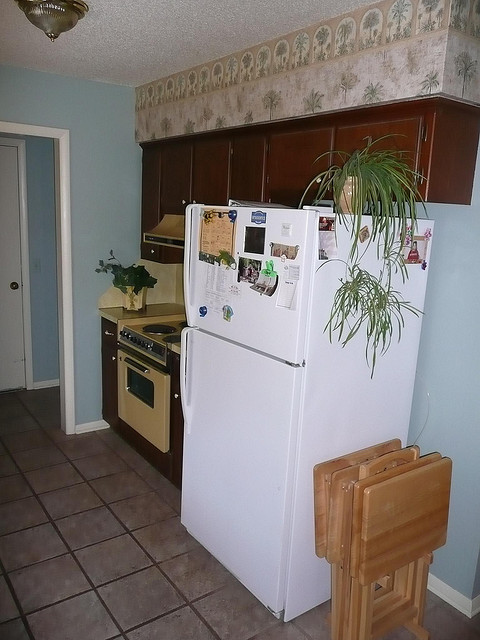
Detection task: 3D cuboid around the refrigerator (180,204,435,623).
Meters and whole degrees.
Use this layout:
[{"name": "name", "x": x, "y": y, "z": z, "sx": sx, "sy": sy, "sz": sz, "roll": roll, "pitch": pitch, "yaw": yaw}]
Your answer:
[{"name": "refrigerator", "x": 0.144, "y": 0.328, "z": 2.177, "sx": 0.733, "sy": 1.603, "sz": 0.647, "roll": 12, "pitch": 14, "yaw": 39}]

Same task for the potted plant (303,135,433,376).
[{"name": "potted plant", "x": 0.439, "y": -0.218, "z": 1.702, "sx": 0.300, "sy": 0.770, "sz": 0.373, "roll": -3, "pitch": 5, "yaw": -16}]

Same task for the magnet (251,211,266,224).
[{"name": "magnet", "x": 0.068, "y": -0.375, "z": 1.752, "sx": 0.006, "sy": 0.045, "sz": 0.094, "roll": -2, "pitch": 9, "yaw": -31}]

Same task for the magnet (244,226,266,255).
[{"name": "magnet", "x": 0.056, "y": -0.298, "z": 1.786, "sx": 0.014, "sy": 0.094, "sz": 0.141, "roll": -2, "pitch": 9, "yaw": -28}]

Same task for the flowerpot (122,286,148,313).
[{"name": "flowerpot", "x": -0.803, "y": -0.146, "z": 3.612, "sx": 0.164, "sy": 0.226, "sz": 0.187, "roll": -1, "pitch": 12, "yaw": -15}]

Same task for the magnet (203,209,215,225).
[{"name": "magnet", "x": -0.143, "y": -0.441, "z": 2.043, "sx": 0.015, "sy": 0.060, "sz": 0.038, "roll": -10, "pitch": 17, "yaw": -40}]

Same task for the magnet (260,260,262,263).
[{"name": "magnet", "x": 0.079, "y": -0.216, "z": 1.759, "sx": 0.003, "sy": 0.007, "sz": 0.006, "roll": -2, "pitch": 8, "yaw": -27}]

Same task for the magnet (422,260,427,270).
[{"name": "magnet", "x": 0.742, "y": -0.215, "z": 1.897, "sx": 0.016, "sy": 0.029, "sz": 0.007, "roll": -9, "pitch": 16, "yaw": -40}]

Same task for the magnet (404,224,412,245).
[{"name": "magnet", "x": 0.635, "y": -0.318, "z": 1.777, "sx": 0.026, "sy": 0.074, "sz": 0.070, "roll": 4, "pitch": 7, "yaw": 20}]

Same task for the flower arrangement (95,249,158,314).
[{"name": "flower arrangement", "x": -0.842, "y": -0.270, "z": 3.635, "sx": 0.385, "sy": 0.527, "sz": 0.440, "roll": 4, "pitch": 5, "yaw": 30}]

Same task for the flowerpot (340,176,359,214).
[{"name": "flowerpot", "x": 0.372, "y": -0.425, "z": 1.616, "sx": 0.048, "sy": 0.121, "sz": 0.093, "roll": 0, "pitch": 7, "yaw": -15}]

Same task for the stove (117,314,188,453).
[{"name": "stove", "x": -0.560, "y": 0.407, "z": 3.180, "sx": 0.391, "sy": 0.763, "sz": 0.872, "roll": -2, "pitch": 9, "yaw": -29}]

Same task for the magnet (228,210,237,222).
[{"name": "magnet", "x": -0.031, "y": -0.414, "z": 1.898, "sx": 0.008, "sy": 0.041, "sz": 0.035, "roll": -3, "pitch": 12, "yaw": -32}]
